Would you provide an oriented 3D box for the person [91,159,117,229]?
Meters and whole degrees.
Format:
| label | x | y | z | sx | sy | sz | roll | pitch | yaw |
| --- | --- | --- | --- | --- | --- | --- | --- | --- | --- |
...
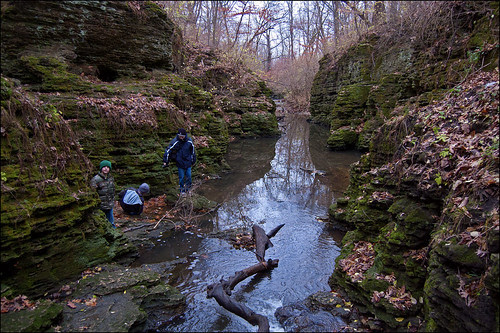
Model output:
| label | x | y | z | sx | sy | sz | roll | pitch | yaw |
| --- | --- | --- | --- | --- | --- | --- | --- | --- | --- |
| person | -3.821 | 0.782 | 8.477 | 0.450 | 1.887 | 0.671 | -1 | 17 | -6 |

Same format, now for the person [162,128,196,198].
| label | x | y | z | sx | sy | sz | roll | pitch | yaw |
| --- | --- | --- | --- | --- | --- | --- | --- | --- | --- |
| person | -2.456 | -0.223 | 11.256 | 1.000 | 2.226 | 0.941 | 0 | 17 | -1 |

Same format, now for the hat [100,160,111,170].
| label | x | y | z | sx | sy | sz | roll | pitch | yaw |
| --- | --- | --- | --- | --- | --- | --- | --- | --- | --- |
| hat | -3.792 | -0.032 | 8.524 | 0.257 | 0.241 | 0.330 | 18 | -24 | -38 |

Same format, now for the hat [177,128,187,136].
| label | x | y | z | sx | sy | sz | roll | pitch | yaw |
| --- | --- | --- | --- | --- | --- | --- | --- | --- | --- |
| hat | -2.300 | -1.157 | 10.999 | 0.234 | 0.197 | 0.317 | 4 | 7 | -5 |

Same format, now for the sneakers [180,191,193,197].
| label | x | y | z | sx | sy | sz | roll | pitch | yaw |
| --- | --- | --- | --- | --- | --- | --- | --- | --- | --- |
| sneakers | -2.134 | 0.932 | 10.898 | 0.336 | 0.152 | 0.257 | -4 | 24 | -5 |
